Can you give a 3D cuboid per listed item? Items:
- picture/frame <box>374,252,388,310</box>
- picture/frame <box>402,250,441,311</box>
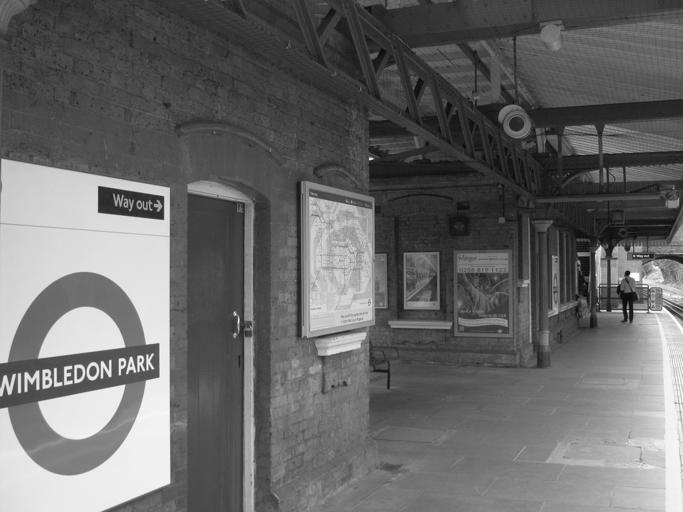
[{"bbox_3d":[1.026,0.661,15.122,0.316,1.434,0.250,-1,-1,11],"label":"picture/frame"},{"bbox_3d":[1.994,0.602,14.666,0.896,1.689,0.040,0,30,8],"label":"picture/frame"}]
